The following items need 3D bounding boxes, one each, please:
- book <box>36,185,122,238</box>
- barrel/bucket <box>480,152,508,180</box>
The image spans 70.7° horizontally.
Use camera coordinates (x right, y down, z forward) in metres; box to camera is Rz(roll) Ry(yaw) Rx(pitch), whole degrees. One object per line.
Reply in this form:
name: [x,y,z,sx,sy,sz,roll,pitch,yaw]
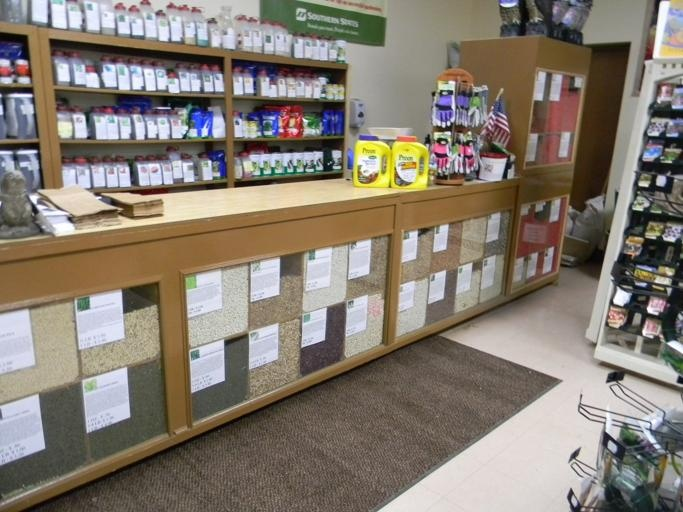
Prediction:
book: [-1.194,-0.227,2.154,0.248,0.099,0.320,-15,33,-40]
barrel/bucket: [1.211,-0.755,3.975,0.194,0.175,0.233,-16,27,-36]
